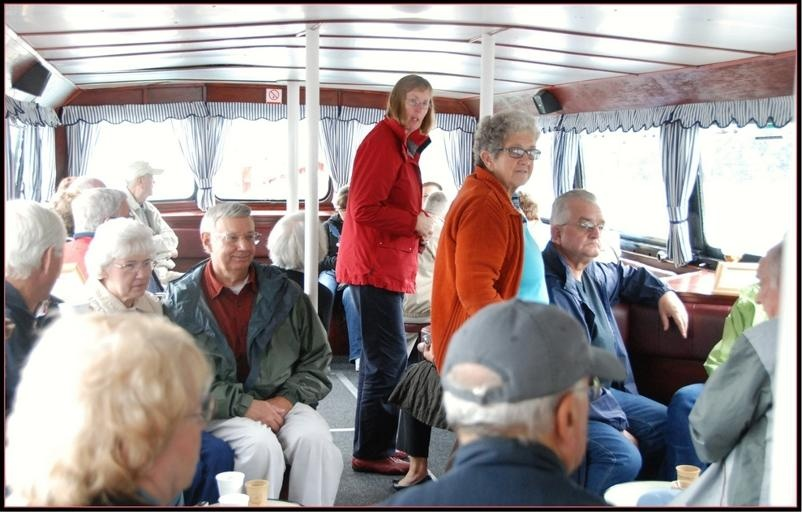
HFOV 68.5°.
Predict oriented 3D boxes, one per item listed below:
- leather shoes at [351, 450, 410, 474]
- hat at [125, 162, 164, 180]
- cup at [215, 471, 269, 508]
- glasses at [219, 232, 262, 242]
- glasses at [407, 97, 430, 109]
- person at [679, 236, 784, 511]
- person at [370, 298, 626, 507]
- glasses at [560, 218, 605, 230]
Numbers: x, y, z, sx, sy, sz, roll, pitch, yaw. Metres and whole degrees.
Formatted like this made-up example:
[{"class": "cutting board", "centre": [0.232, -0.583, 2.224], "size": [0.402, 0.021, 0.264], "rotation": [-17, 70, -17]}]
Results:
[{"class": "leather shoes", "centre": [-0.172, 1.522, 4.404], "size": [0.449, 0.172, 0.155], "rotation": [-2, 1, -5]}, {"class": "hat", "centre": [-3.139, -1.048, 7.326], "size": [0.440, 0.148, 0.278], "rotation": [-9, 16, -37]}, {"class": "cup", "centre": [-0.703, 1.040, 2.618], "size": [0.214, 0.076, 0.145], "rotation": [1, 1, -21]}, {"class": "glasses", "centre": [-0.984, -0.119, 3.719], "size": [0.149, 0.074, 0.299], "rotation": [1, 0, 29]}, {"class": "glasses", "centre": [0.125, -1.055, 4.078], "size": [0.189, 0.066, 0.055], "rotation": [1, 0, -34]}, {"class": "person", "centre": [1.485, 0.726, 2.690], "size": [0.339, 0.782, 0.225], "rotation": [1, 1, 28]}, {"class": "person", "centre": [0.348, 0.456, 1.958], "size": [0.550, 0.693, 0.837], "rotation": [0, -22, 23]}, {"class": "glasses", "centre": [1.232, -0.201, 3.958], "size": [0.299, 0.068, 0.113], "rotation": [1, 0, -16]}]
